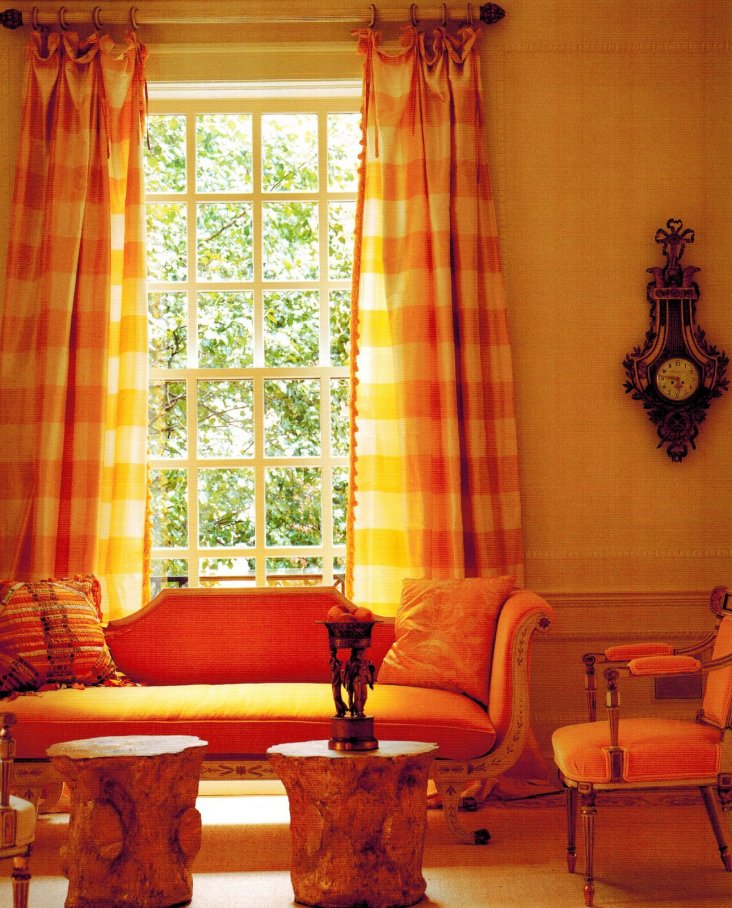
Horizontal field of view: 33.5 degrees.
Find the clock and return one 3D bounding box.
[{"bbox_3d":[1.267,-0.465,4.979,0.413,0.991,0.134,0,-1,16],"label":"clock"}]

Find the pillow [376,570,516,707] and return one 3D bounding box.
[{"bbox_3d":[0.289,0.626,4.217,0.467,0.415,0.143,-6,-29,39],"label":"pillow"}]
